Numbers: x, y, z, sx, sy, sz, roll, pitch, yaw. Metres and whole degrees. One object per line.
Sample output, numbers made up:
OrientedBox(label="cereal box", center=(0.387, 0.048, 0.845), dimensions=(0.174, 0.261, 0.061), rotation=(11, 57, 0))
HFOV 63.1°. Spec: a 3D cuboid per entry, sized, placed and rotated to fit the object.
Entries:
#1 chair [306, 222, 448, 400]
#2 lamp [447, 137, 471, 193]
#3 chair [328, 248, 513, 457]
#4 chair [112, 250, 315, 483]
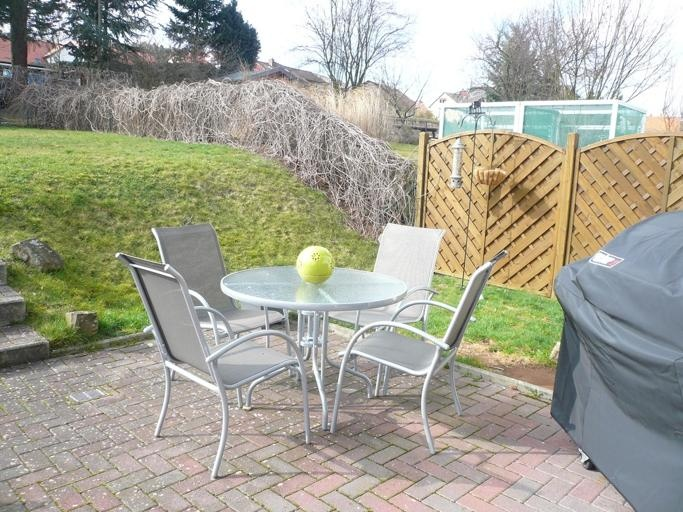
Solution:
OrientedBox(label="chair", center=(-0.001, 0.274, 5.099), dimensions=(1.389, 1.692, 1.197), rotation=(-2, 8, -41))
OrientedBox(label="lamp", center=(1.789, -1.350, 8.217), dimensions=(0.221, 0.768, 0.393), rotation=(6, 16, 10))
OrientedBox(label="chair", center=(0.559, 0.640, 4.068), dimensions=(1.083, 1.168, 0.925), rotation=(6, 9, 33))
OrientedBox(label="chair", center=(-0.835, 0.651, 3.793), dimensions=(1.120, 1.242, 0.845), rotation=(-4, 9, -40))
